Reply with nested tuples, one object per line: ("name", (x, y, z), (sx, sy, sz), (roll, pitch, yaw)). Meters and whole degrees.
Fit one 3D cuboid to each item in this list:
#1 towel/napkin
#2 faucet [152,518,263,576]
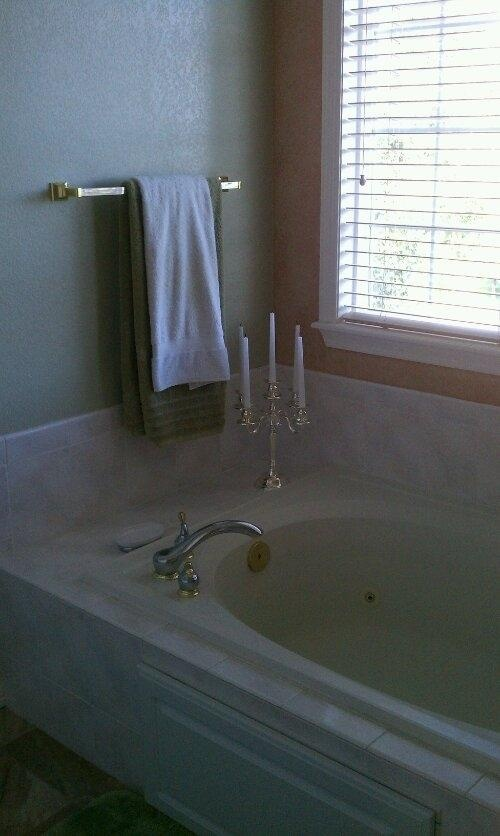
("towel/napkin", (-0.179, -0.235, 1.591), (0.301, 0.589, 0.060), (-9, 16, -42))
("faucet", (-0.084, 0.228, 1.284), (0.197, 0.093, 0.129), (0, 13, -9))
